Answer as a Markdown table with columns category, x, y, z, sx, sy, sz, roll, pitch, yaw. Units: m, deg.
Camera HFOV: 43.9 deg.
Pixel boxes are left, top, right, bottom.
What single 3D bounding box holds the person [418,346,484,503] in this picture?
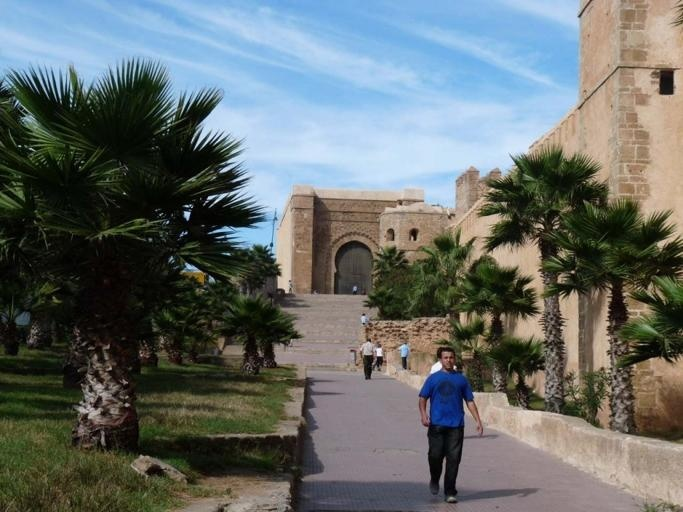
| category | x | y | z | sx | sy | sz | roll | pitch | yaw |
| --- | --- | --- | --- | --- | --- | --- | --- | --- | --- |
| person | 1.482 | 2.403 | 11.701 | 0.806 | 1.818 | 0.572 | 2 | -4 | 5 |

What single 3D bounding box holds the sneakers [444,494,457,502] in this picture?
| category | x | y | z | sx | sy | sz | roll | pitch | yaw |
| --- | --- | --- | --- | --- | --- | --- | --- | --- | --- |
| sneakers | 1.527 | 3.255 | 11.447 | 0.235 | 0.091 | 0.161 | 5 | -5 | -29 |
